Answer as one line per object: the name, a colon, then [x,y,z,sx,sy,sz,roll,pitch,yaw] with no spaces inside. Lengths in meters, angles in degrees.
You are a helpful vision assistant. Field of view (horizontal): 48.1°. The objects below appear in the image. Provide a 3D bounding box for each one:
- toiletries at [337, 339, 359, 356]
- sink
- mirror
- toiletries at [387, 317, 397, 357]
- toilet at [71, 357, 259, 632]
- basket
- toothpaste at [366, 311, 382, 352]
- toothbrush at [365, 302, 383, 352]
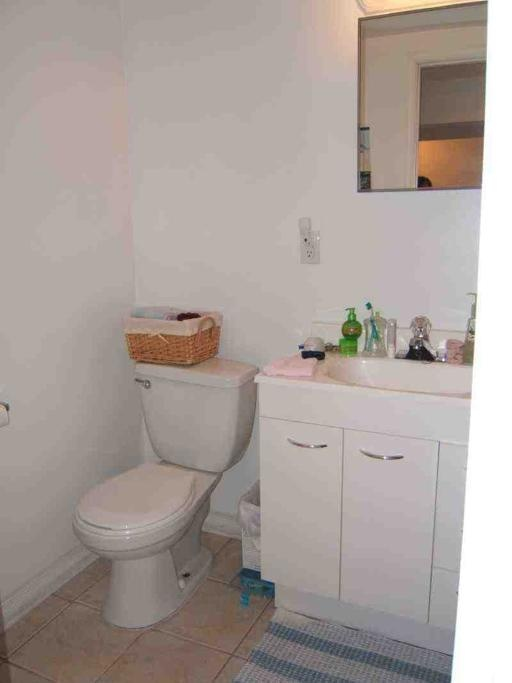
toiletries: [0.301,0.019,1.872,0.069,0.064,0.049,1,-2,-1]
sink: [0.413,0.102,1.789,0.453,0.091,0.206,0,10,2]
mirror: [0.499,-0.737,1.762,0.389,0.531,0.043,6,12,30]
toiletries: [0.444,-0.013,1.880,0.035,0.120,0.074,2,11,13]
toilet: [-0.280,0.492,1.907,0.449,0.768,0.628,3,11,14]
basket: [-0.307,-0.036,2.081,0.268,0.143,0.209,3,8,22]
toothpaste: [0.390,-0.024,1.879,0.061,0.157,0.059,8,34,24]
toothbrush: [0.387,-0.037,1.884,0.066,0.177,0.063,4,4,1]
